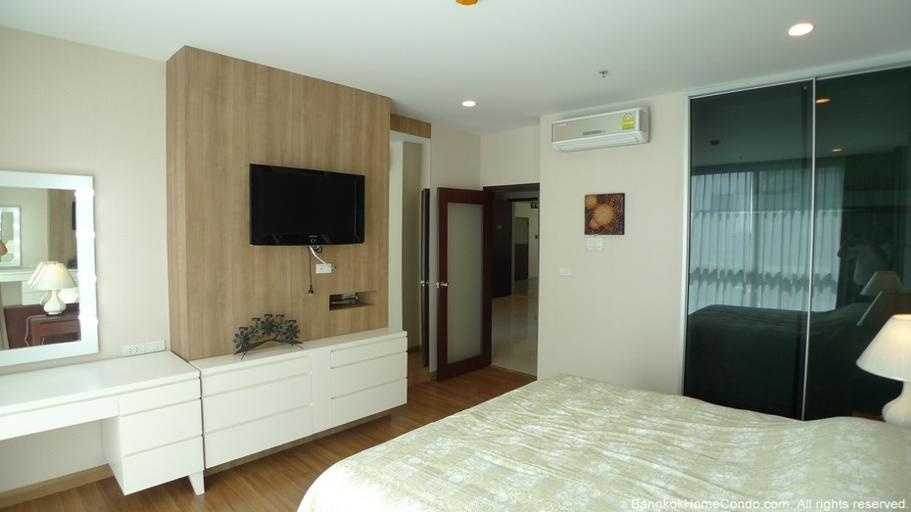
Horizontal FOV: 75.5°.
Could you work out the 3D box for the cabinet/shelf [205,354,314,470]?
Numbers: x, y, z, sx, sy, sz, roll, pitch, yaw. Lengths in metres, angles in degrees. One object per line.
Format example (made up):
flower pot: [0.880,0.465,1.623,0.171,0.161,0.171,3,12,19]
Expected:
cabinet/shelf: [-1.994,1.542,5.875,1.249,0.899,0.395,-5,7,-37]

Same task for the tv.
tv: [-1.626,-0.548,6.234,1.066,0.625,0.107,-2,3,-35]

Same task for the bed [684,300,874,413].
bed: [3.482,1.023,6.509,1.341,0.747,1.345,1,1,36]
